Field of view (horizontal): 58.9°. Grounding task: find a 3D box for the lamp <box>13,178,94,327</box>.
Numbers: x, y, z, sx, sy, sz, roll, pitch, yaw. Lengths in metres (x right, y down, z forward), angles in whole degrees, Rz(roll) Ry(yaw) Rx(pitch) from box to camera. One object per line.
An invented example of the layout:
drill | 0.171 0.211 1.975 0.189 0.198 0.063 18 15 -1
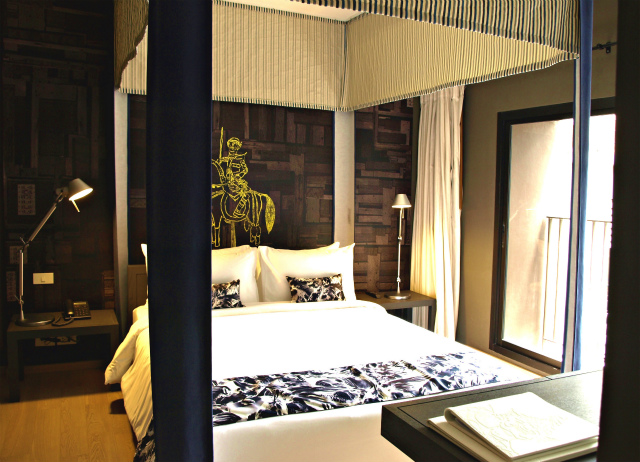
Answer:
lamp | -2.082 0.129 4.426 0.635 1.063 0.564 -5 13 -24

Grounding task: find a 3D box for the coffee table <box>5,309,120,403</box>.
coffee table | -1.994 0.911 4.410 0.809 0.548 0.508 -6 13 -22

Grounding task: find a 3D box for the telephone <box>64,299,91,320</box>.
telephone | -1.915 0.619 4.487 0.139 0.071 0.208 -1 15 -21
